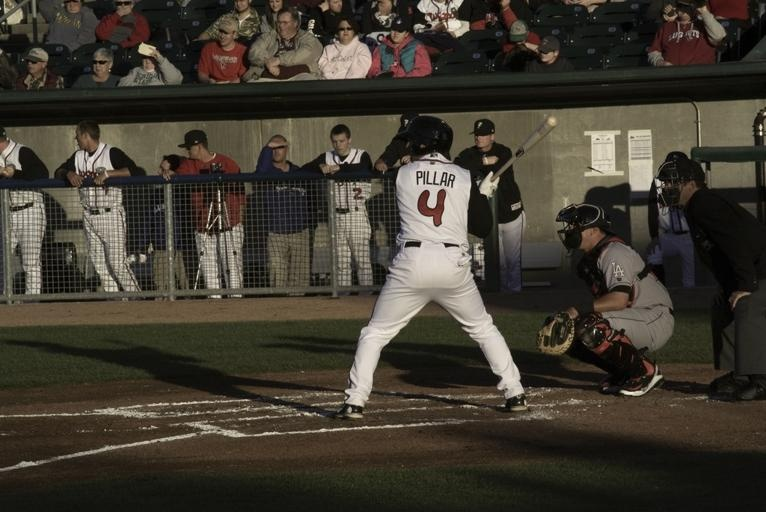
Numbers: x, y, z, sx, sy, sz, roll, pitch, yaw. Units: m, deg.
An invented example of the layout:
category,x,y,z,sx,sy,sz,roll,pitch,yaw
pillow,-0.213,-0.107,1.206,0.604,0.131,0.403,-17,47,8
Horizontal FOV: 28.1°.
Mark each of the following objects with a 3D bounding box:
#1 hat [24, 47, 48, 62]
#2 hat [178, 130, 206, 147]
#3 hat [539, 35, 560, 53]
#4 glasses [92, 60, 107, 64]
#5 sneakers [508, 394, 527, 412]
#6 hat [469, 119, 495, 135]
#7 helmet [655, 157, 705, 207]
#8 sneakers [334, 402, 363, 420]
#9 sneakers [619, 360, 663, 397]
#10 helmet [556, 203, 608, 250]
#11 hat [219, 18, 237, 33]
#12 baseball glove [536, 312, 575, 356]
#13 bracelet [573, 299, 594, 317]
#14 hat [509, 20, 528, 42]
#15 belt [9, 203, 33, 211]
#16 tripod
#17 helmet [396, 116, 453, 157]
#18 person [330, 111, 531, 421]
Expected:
category,x,y,z,sx,sy,sz,roll,pitch,yaw
hat,-4.872,-2.826,21.555,0.220,0.126,0.277,5,8,26
hat,-2.466,-1.531,19.949,0.422,0.184,0.264,-1,7,-3
hat,2.259,-2.840,20.591,0.299,0.138,0.209,-12,21,-39
glasses,-3.960,-2.690,21.355,0.213,0.058,0.111,-2,4,7
sneakers,1.356,1.466,15.238,0.133,0.142,0.233,-3,7,-15
hat,1.273,-1.636,19.569,0.295,0.133,0.208,-1,7,-43
helmet,3.150,-0.768,15.718,0.611,0.465,0.448,2,4,13
sneakers,-0.339,1.536,15.205,0.286,0.175,0.167,-3,4,-4
sneakers,2.731,1.275,15.796,0.598,0.236,0.203,-22,15,-8
helmet,2.076,-0.298,16.020,0.587,0.398,0.437,6,2,11
hat,-2.126,-3.163,21.073,0.229,0.199,0.266,14,14,14
baseball glove,1.772,0.782,15.576,0.392,0.422,0.192,-3,4,4
bracelet,2.077,0.538,15.666,0.169,0.068,0.222,2,19,35
hat,1.884,-3.102,21.263,0.259,0.325,0.340,-3,4,4
belt,-4.680,-0.628,19.752,0.358,0.080,0.084,-5,-19,-6
tripod,-2.092,-0.243,19.627,0.677,1.372,0.107,-4,4,-7
helmet,0.448,-1.230,15.420,0.543,0.358,0.361,-8,18,9
person,0.480,0.100,15.225,1.738,2.948,0.403,-3,4,-2
